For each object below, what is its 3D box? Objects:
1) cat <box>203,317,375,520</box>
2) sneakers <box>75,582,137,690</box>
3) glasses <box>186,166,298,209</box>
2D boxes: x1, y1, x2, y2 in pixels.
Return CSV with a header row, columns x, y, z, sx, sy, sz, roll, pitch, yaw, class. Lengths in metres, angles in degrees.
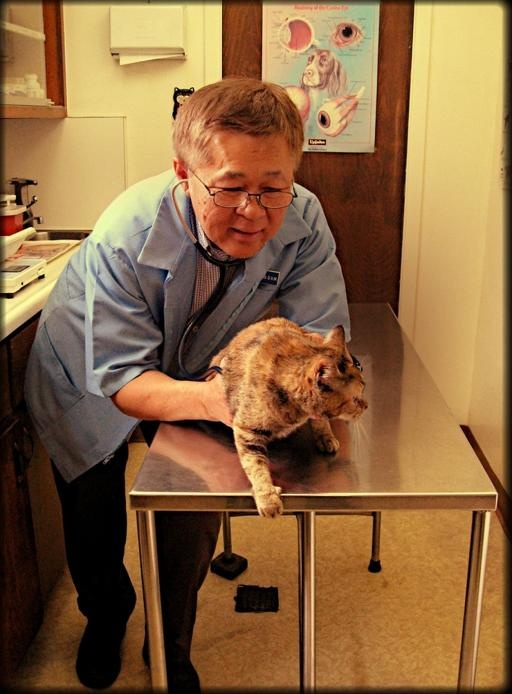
x,y,z,sx,sy,sz,roll,pitch,yaw,class
0.024,0.069,0.833,0.171,0.150,0.264,-35,42,-15,cat
-0.342,0.637,1.303,0.083,0.095,0.238,-4,51,14,sneakers
-0.021,-0.229,0.826,0.154,0.057,0.098,-1,13,2,glasses
